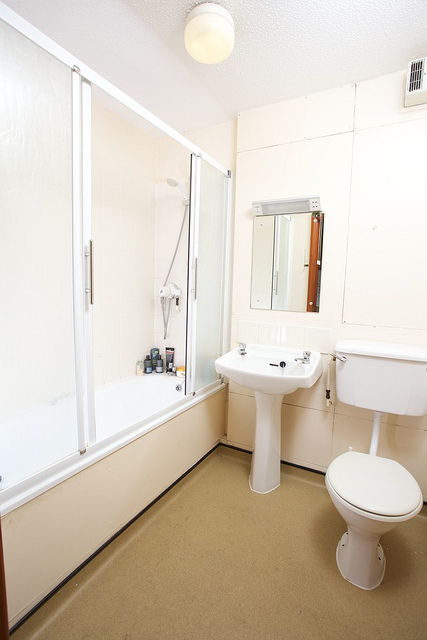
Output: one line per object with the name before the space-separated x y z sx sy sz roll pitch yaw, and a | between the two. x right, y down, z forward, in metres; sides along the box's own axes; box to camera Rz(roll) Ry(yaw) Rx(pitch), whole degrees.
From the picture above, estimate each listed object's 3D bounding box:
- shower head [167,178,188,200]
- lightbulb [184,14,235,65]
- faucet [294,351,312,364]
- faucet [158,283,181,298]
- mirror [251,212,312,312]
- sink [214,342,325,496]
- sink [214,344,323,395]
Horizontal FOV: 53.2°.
shower head | -0.232 -0.844 2.756 0.096 0.112 0.284 3 10 8
lightbulb | -0.020 -1.144 1.731 0.196 0.122 0.199 3 10 6
faucet | 0.454 0.184 2.196 0.072 0.064 0.099 2 10 3
faucet | -0.318 -0.205 2.991 0.095 0.096 0.175 9 13 39
mirror | 0.375 -0.330 2.417 0.352 0.537 0.047 9 12 40
sink | 0.327 0.544 2.329 0.513 1.012 0.475 4 7 30
sink | 0.278 0.260 2.197 0.502 0.169 0.538 6 11 23
